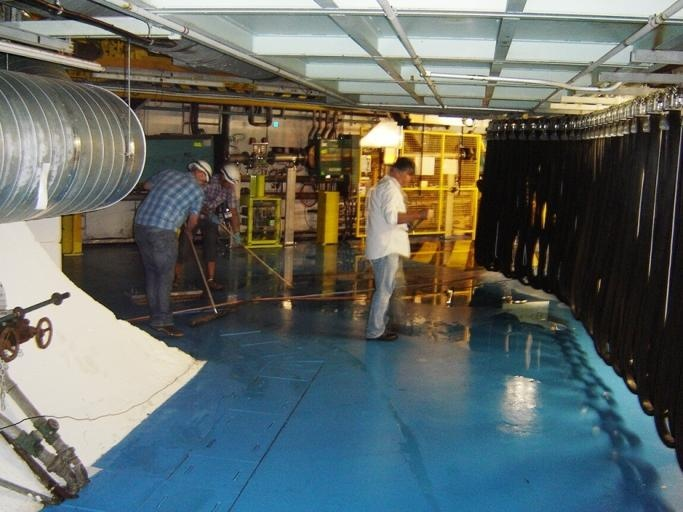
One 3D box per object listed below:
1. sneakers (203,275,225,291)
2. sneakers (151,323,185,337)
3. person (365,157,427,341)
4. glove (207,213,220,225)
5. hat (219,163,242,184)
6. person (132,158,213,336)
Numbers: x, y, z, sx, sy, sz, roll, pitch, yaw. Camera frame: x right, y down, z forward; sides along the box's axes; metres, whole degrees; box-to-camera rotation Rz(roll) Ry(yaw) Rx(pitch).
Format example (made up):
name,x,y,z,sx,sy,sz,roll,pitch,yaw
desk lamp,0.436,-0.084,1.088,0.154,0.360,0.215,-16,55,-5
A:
name,x,y,z,sx,sy,sz,roll,pitch,yaw
sneakers,-2.017,0.413,7.428,0.330,0.120,0.168,15,14,27
sneakers,-1.998,0.837,5.439,0.356,0.120,0.144,4,10,-1
person,0.617,-0.096,5.525,0.691,2.065,0.610,2,14,1
glove,-1.934,-0.562,7.107,0.093,0.144,0.186,-40,16,-14
hat,-1.825,-1.335,7.696,0.276,0.300,0.275,-2,14,-15
person,-1.991,-0.066,5.484,0.554,1.823,0.586,11,17,34
